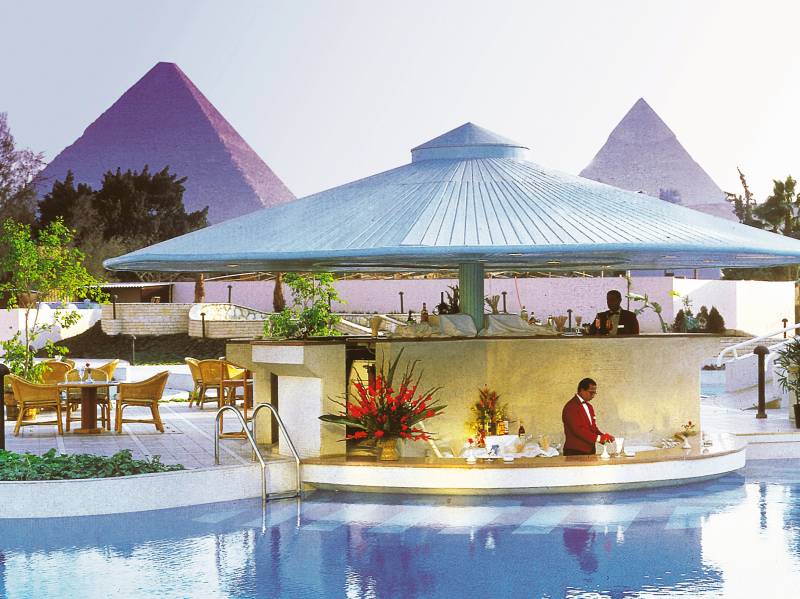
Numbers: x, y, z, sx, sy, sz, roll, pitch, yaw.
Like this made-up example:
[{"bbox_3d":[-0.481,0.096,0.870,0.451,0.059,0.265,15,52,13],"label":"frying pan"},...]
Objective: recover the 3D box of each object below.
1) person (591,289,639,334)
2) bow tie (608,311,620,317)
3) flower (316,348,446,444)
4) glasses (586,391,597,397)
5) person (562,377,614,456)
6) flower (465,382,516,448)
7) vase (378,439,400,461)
[{"bbox_3d":[3.536,0.257,14.094,0.923,0.837,0.523,1,7,33],"label":"person"},{"bbox_3d":[3.527,0.233,13.989,0.117,0.087,0.115,1,-6,-6],"label":"bow tie"},{"bbox_3d":[-0.154,1.545,12.108,1.257,1.057,1.579,-1,3,12],"label":"flower"},{"bbox_3d":[2.677,1.317,11.938,0.164,0.052,0.162,6,-13,-18],"label":"glasses"},{"bbox_3d":[2.525,1.633,11.965,0.499,1.029,0.425,-4,-8,9],"label":"person"},{"bbox_3d":[1.349,1.698,12.761,0.647,0.868,0.580,-3,-8,3],"label":"flower"},{"bbox_3d":[-0.155,2.029,11.716,0.281,0.311,0.283,-1,-2,18],"label":"vase"}]
